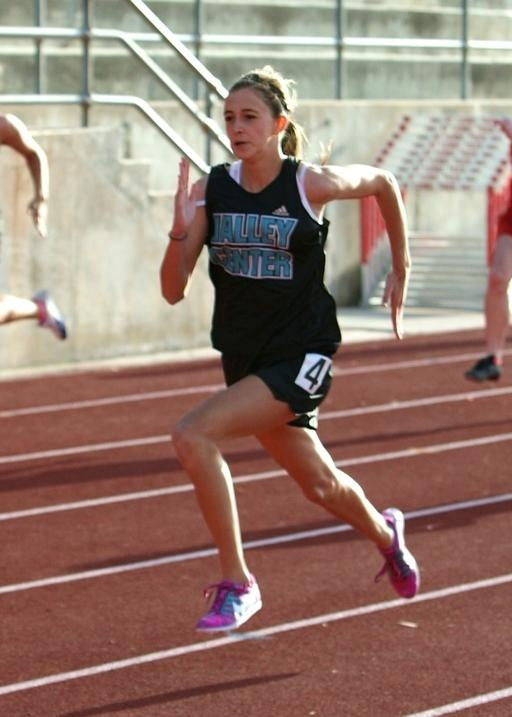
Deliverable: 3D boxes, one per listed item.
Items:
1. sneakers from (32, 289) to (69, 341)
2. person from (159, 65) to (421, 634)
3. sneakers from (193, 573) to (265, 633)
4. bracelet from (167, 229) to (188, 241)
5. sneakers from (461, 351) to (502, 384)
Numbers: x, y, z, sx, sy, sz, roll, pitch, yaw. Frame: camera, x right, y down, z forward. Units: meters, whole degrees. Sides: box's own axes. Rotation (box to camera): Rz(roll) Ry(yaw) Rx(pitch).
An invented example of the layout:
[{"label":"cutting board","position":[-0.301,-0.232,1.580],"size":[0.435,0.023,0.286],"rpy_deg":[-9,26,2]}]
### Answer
[{"label":"sneakers","position":[-0.975,-0.204,4.399],"size":[0.084,0.237,0.177],"rpy_deg":[-32,45,-1]},{"label":"person","position":[0.053,-0.031,2.499],"size":[0.368,1.550,0.859],"rpy_deg":[6,8,43]},{"label":"sneakers","position":[-0.076,0.626,2.273],"size":[0.099,0.094,0.210],"rpy_deg":[-12,5,30]},{"label":"bracelet","position":[-0.200,-0.322,2.329],"size":[0.044,0.024,0.045],"rpy_deg":[0,6,-6]},{"label":"sneakers","position":[1.316,0.051,5.071],"size":[0.384,0.177,0.129],"rpy_deg":[2,5,-41]}]
